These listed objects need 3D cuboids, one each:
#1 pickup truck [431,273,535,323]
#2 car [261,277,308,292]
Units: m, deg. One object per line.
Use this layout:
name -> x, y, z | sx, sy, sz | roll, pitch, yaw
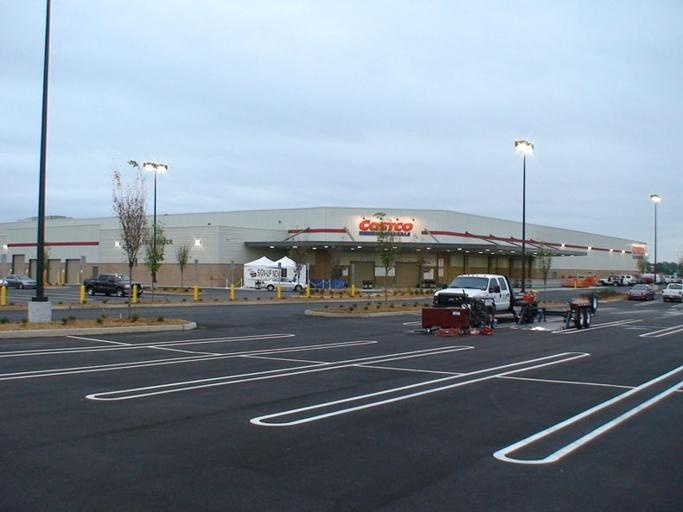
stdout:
pickup truck -> 5.471, 1.687, 27.117 | 2.218, 1.652, 3.916 | -4, -7, 38
car -> -5.221, 2.850, 60.532 | 3.478, 1.220, 1.594 | -1, 0, 0
